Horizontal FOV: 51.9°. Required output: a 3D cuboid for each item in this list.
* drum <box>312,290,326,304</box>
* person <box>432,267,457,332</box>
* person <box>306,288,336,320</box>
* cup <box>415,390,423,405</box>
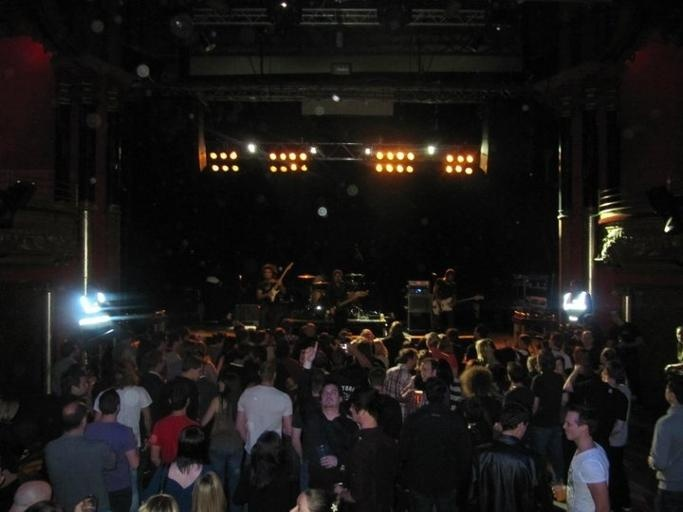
[{"bbox_3d":[-0.567,1.075,18.118,0.325,0.327,0.334,-6,-12,31],"label":"drum"},{"bbox_3d":[2.791,1.242,18.794,0.555,1.438,1.401,11,1,1],"label":"person"},{"bbox_3d":[-0.511,1.224,17.933,0.696,0.738,1.254,-2,10,-10],"label":"person"},{"bbox_3d":[1.098,1.995,9.799,0.122,0.145,0.126,-1,-13,0],"label":"cup"}]
